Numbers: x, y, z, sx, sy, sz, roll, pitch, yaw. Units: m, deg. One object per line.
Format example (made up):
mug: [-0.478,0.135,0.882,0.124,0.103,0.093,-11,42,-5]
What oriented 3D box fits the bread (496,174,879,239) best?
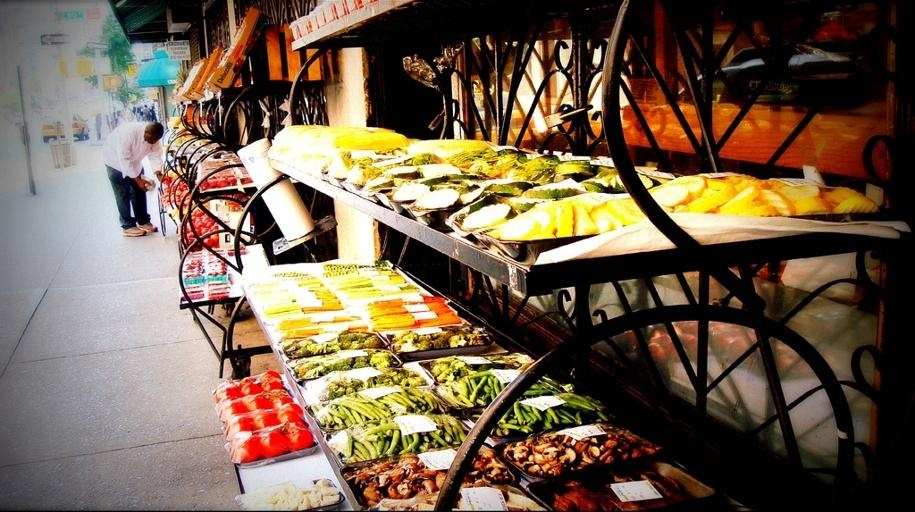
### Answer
bread: [0.657,-0.153,1.598,1.147,0.122,0.254,-5,19,-7]
